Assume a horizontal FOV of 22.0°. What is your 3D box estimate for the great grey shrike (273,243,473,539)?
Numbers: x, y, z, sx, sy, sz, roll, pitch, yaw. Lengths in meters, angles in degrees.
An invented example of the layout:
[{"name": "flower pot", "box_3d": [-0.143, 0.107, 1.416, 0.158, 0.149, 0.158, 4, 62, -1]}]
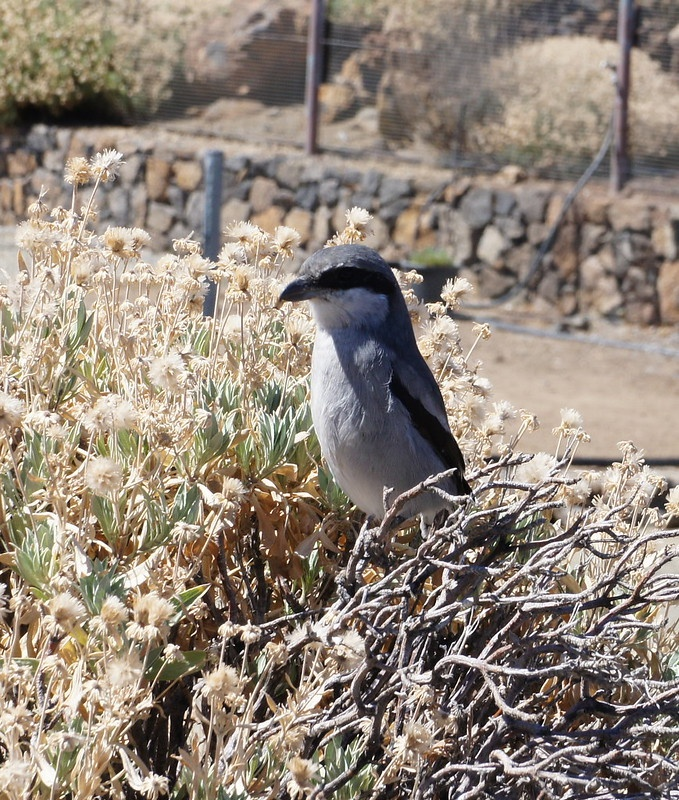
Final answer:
[{"name": "great grey shrike", "box_3d": [0.130, -0.023, 4.756, 0.671, 0.949, 0.348, -16, 21, -41]}]
